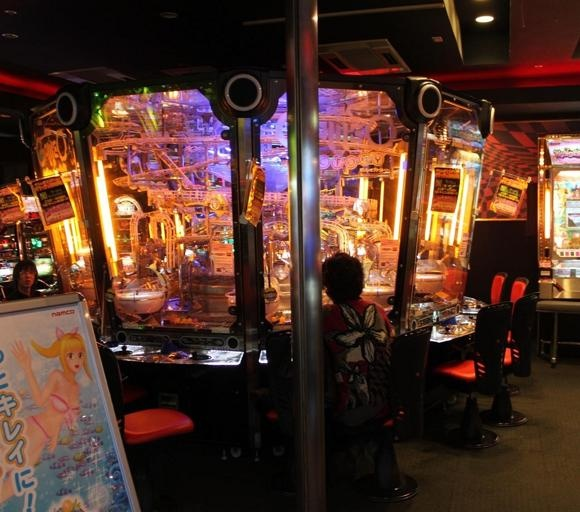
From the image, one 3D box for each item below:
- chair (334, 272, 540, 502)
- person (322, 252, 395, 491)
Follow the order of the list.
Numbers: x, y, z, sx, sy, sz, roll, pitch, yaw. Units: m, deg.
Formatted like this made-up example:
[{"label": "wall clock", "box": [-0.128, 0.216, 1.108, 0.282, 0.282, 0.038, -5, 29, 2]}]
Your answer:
[{"label": "chair", "box": [0.915, 0.858, 3.205, 0.486, 0.494, 1.636, 4, 6, 42]}, {"label": "person", "box": [0.384, 0.672, 2.723, 0.389, 1.372, 0.372, -1, 6, 6]}]
